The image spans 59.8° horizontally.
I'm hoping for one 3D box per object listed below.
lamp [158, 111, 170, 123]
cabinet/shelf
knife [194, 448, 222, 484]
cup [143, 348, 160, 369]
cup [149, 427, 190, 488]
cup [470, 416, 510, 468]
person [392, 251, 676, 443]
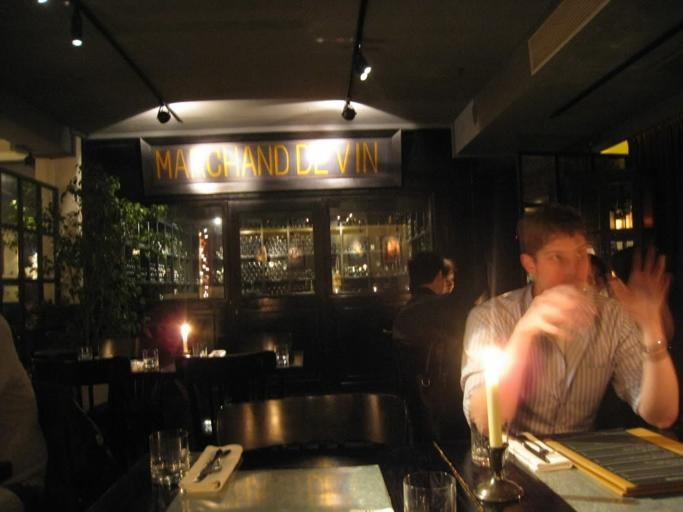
[{"bbox_3d":[-1.532,-1.205,5.211,0.129,0.105,0.114,-6,8,-44],"label":"lamp"},{"bbox_3d":[-0.638,-0.079,6.619,3.031,1.187,0.687,-6,9,-7],"label":"cabinet/shelf"},{"bbox_3d":[-0.541,0.866,2.430,0.038,0.055,0.142,8,17,14],"label":"knife"},{"bbox_3d":[-1.450,0.807,4.509,0.117,0.112,0.301,-8,10,-21],"label":"cup"},{"bbox_3d":[-0.700,0.854,2.507,0.180,0.233,0.196,-1,-9,0],"label":"cup"},{"bbox_3d":[0.615,0.772,2.442,0.145,0.187,0.163,0,-7,-3],"label":"cup"},{"bbox_3d":[0.894,0.366,3.009,0.915,1.405,0.924,1,-27,-1],"label":"person"}]
